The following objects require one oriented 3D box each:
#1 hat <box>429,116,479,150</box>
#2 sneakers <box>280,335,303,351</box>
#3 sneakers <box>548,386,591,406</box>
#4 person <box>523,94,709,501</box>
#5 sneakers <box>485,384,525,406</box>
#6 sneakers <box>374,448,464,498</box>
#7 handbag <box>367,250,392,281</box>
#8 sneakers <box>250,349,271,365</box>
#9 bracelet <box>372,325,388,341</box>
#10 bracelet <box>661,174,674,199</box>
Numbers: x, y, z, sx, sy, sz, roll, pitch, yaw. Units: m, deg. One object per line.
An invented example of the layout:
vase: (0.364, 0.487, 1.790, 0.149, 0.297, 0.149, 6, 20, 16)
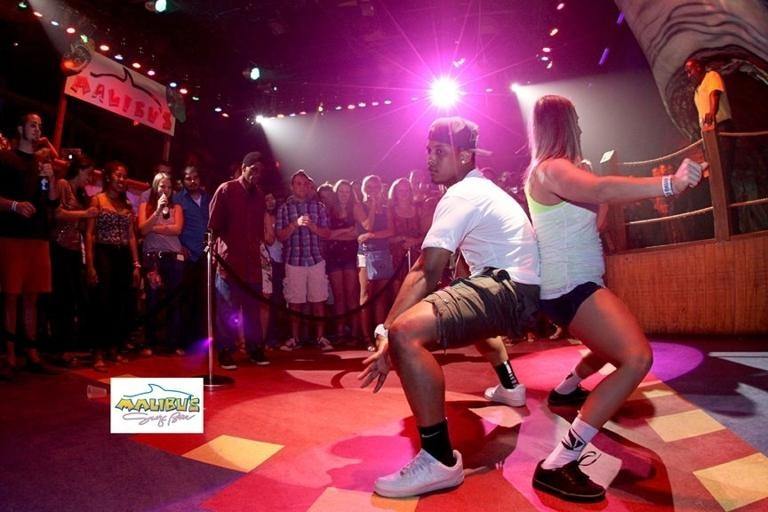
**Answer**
hat: (0.517, -0.902, 3.428, 0.320, 0.173, 0.241, 19, 17, -2)
sneakers: (-1.315, 1.290, 6.520, 0.146, 0.123, 0.289, -2, -7, 21)
sneakers: (1.585, 1.224, 3.985, 0.432, 0.162, 0.171, -4, -2, -6)
person: (1.428, 0.138, 3.212, 0.921, 2.672, 1.135, -1, 7, 3)
sneakers: (1.066, 1.224, 4.036, 0.164, 0.136, 0.307, 3, -3, -36)
sneakers: (0.244, 1.432, 3.038, 0.673, 0.289, 0.229, -1, -8, -11)
handbag: (-0.081, 0.151, 6.535, 0.433, 0.435, 0.201, -1, 1, -12)
sneakers: (-1.525, 1.266, 5.605, 0.118, 0.128, 0.308, 2, -7, -41)
bracelet: (0.002, 0.538, 3.178, 0.127, 0.116, 0.107, -5, -10, -26)
bracelet: (1.839, -0.446, 2.964, 0.080, 0.127, 0.127, -5, 21, 19)
